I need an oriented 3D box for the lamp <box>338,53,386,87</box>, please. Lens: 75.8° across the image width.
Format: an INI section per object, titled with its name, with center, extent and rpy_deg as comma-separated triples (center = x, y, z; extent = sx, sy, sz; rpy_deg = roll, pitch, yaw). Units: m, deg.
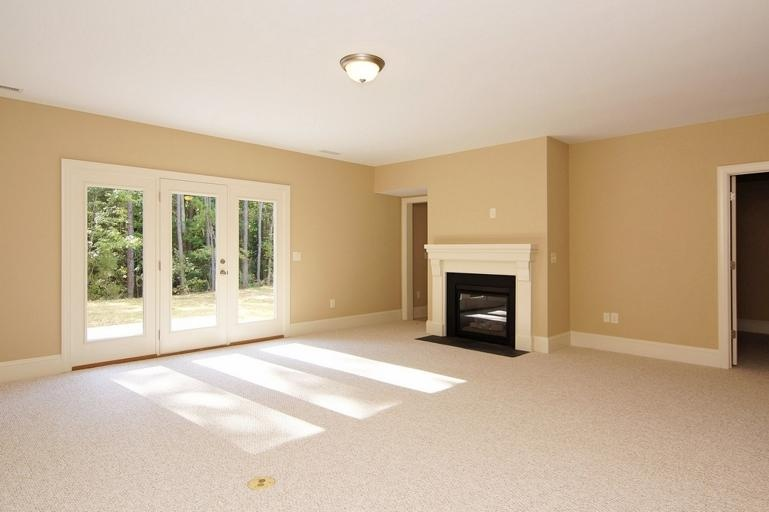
[lamp]
center = -0.214, -1.944, 5.146
extent = 0.329, 0.108, 0.315
rpy_deg = 0, -5, 0
